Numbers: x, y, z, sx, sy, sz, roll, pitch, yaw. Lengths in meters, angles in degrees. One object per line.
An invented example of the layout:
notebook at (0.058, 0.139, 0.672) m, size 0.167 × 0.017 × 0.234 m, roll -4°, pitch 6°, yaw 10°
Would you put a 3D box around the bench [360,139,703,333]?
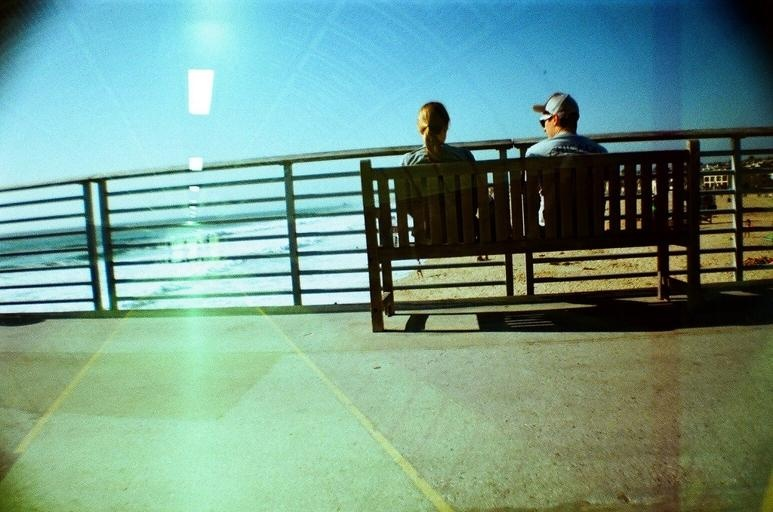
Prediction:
bench at (1.154, -0.154, 4.986) m, size 2.664 × 1.366 × 0.282 m, roll -3°, pitch 4°, yaw 0°
